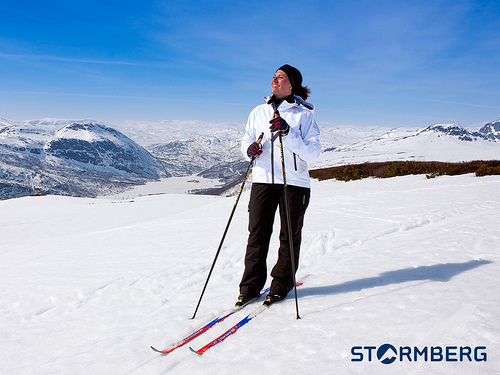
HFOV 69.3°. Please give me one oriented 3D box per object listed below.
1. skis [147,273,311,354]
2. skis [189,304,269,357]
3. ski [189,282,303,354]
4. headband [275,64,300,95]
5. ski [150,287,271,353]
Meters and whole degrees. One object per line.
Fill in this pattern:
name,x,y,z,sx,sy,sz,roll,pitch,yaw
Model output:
skis,-0.185,1.640,5.095,2.654,0.191,0.288,-31,-6,-2
skis,-0.257,1.934,4.798,0.193,0.115,1.466,12,16,37
ski,0.223,1.725,5.448,0.295,0.208,2.730,13,17,38
headband,0.605,-1.607,5.352,0.298,0.426,0.114,-17,9,-40
ski,-0.628,2.003,5.032,1.502,0.154,0.103,-7,49,-38
